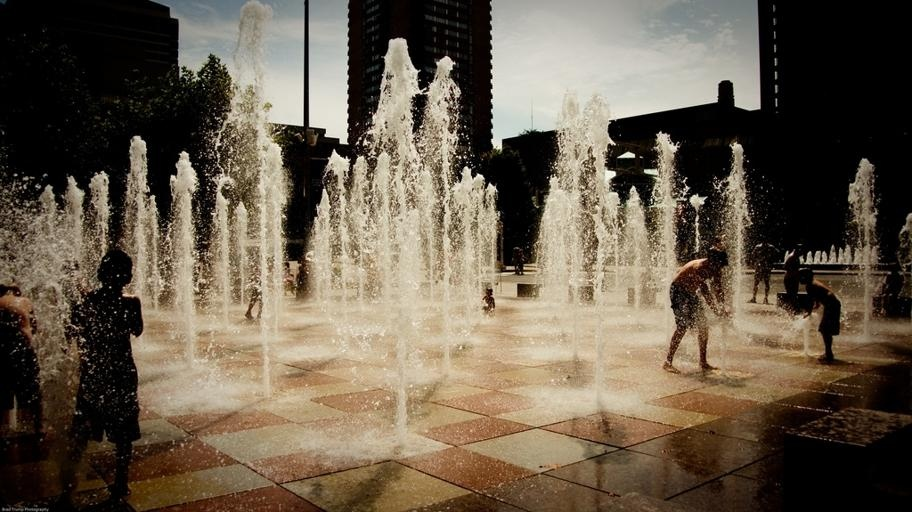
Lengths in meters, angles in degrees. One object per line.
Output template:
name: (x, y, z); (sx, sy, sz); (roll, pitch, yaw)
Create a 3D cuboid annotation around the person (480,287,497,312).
person: (1.222, 1.684, 29.274); (0.436, 0.882, 0.968); (1, 1, -1)

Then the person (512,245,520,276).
person: (4.065, 0.270, 50.472); (0.378, 1.713, 1.067); (1, 1, 6)
